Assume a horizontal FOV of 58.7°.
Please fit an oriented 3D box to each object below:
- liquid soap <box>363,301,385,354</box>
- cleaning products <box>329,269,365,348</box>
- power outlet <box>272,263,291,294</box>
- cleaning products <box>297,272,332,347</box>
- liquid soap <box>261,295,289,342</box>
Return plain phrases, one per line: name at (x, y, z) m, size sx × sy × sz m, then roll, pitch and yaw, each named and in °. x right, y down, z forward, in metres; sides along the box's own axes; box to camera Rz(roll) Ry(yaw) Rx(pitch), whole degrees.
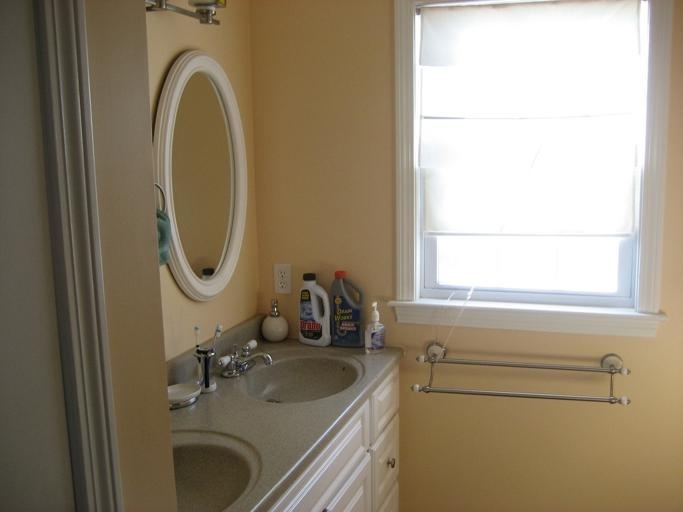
liquid soap at (0.120, 0.263, 2.269) m, size 0.074 × 0.176 × 0.057 m, roll -4°, pitch 10°, yaw -22°
cleaning products at (0.018, 0.200, 2.305) m, size 0.134 × 0.281 × 0.066 m, roll 1°, pitch 9°, yaw 8°
power outlet at (-0.239, 0.090, 2.457) m, size 0.079 × 0.121 × 0.020 m, roll 4°, pitch 10°, yaw 21°
cleaning products at (-0.106, 0.198, 2.348) m, size 0.109 × 0.270 × 0.154 m, roll -3°, pitch 10°, yaw -17°
liquid soap at (-0.260, 0.241, 2.385) m, size 0.128 × 0.216 × 0.139 m, roll 0°, pitch 8°, yaw 2°
